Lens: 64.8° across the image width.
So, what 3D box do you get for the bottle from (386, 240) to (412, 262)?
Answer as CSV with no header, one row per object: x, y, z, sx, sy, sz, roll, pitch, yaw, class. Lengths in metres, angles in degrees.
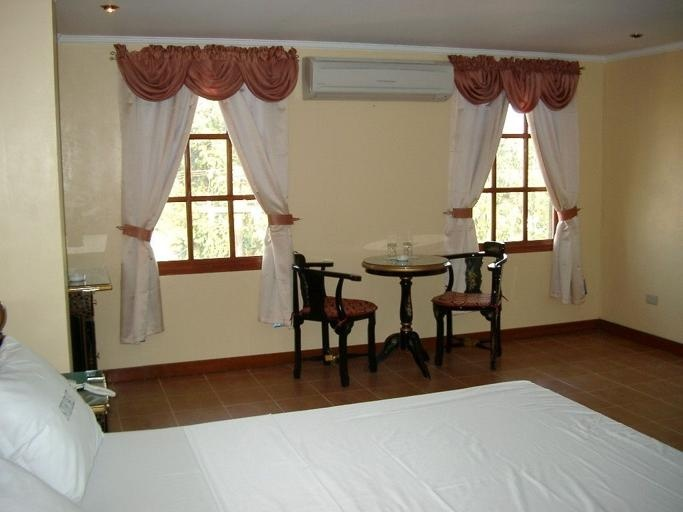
0.541,-0.051,4.934,0.196,0.205,0.191,-7,12,-43,bottle

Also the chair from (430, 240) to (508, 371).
1.175,0.434,4.868,0.707,1.052,0.763,-4,8,-16,chair

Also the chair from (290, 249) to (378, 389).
-0.108,0.494,4.656,0.694,1.174,0.824,-1,4,-9,chair

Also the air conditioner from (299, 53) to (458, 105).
0.341,-1.594,4.817,1.384,0.356,0.236,-4,9,-14,air conditioner
